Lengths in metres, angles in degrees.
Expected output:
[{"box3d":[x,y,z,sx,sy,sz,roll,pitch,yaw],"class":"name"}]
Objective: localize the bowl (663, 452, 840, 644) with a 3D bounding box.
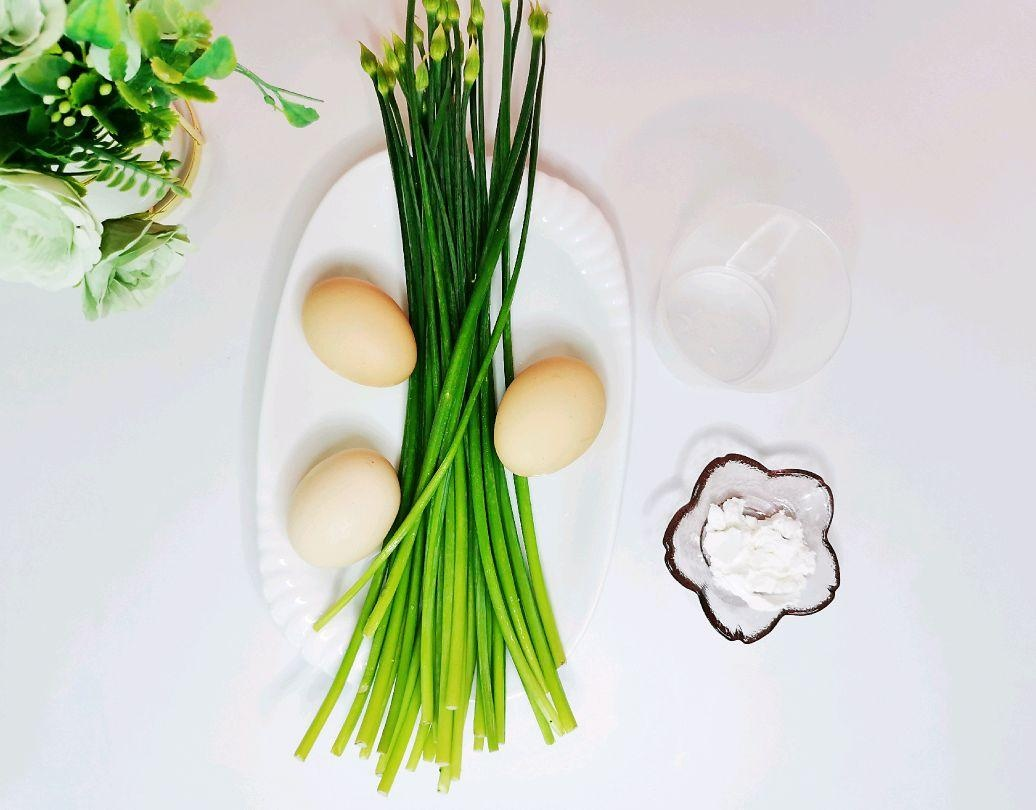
[{"box3d":[0.268,0.166,1.113,0.206,0.067,0.200,0,-83,4],"class":"bowl"}]
